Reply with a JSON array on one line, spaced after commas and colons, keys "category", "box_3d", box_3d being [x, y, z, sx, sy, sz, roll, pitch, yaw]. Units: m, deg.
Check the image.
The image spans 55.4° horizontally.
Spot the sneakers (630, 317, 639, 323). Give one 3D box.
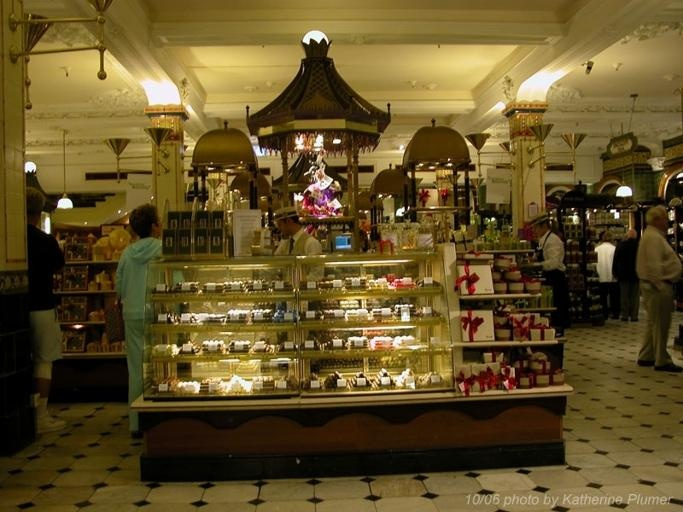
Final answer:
[{"category": "sneakers", "box_3d": [6.099, 1.320, 13.474, 0.154, 0.110, 0.080, 1, -14, -13]}]

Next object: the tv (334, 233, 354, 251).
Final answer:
[{"category": "tv", "box_3d": [0.028, -0.155, 7.751, 0.188, 0.193, 0.139, 1, 1, -3]}]
